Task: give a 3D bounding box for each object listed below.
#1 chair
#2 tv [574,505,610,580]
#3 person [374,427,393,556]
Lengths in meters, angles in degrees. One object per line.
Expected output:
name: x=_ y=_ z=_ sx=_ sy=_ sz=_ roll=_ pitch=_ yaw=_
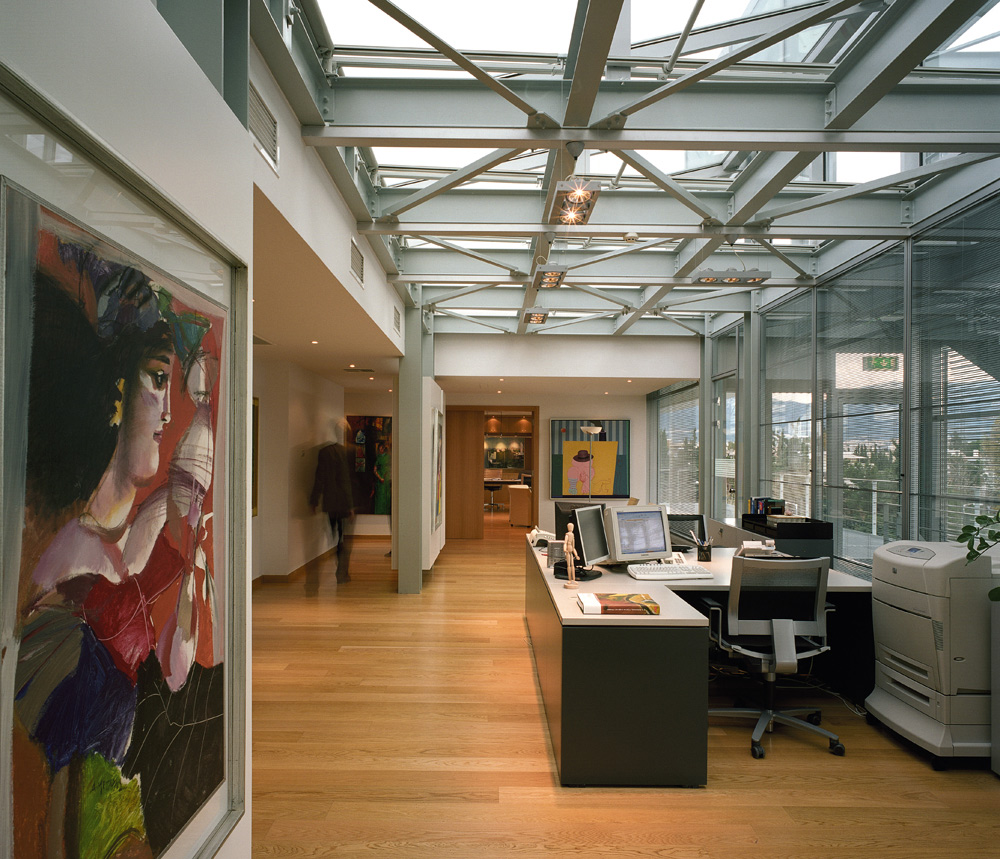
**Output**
chair: x=1.487 y=1.264 z=4.579 sx=0.980 sy=1.240 sz=1.011 roll=0 pitch=-3 yaw=0
tv: x=0.611 y=0.764 z=5.091 sx=0.135 sy=0.397 sz=0.394 roll=-9 pitch=-6 yaw=21
person: x=-1.878 y=0.760 z=12.270 sx=0.253 sy=1.458 sz=0.191 roll=0 pitch=3 yaw=2
